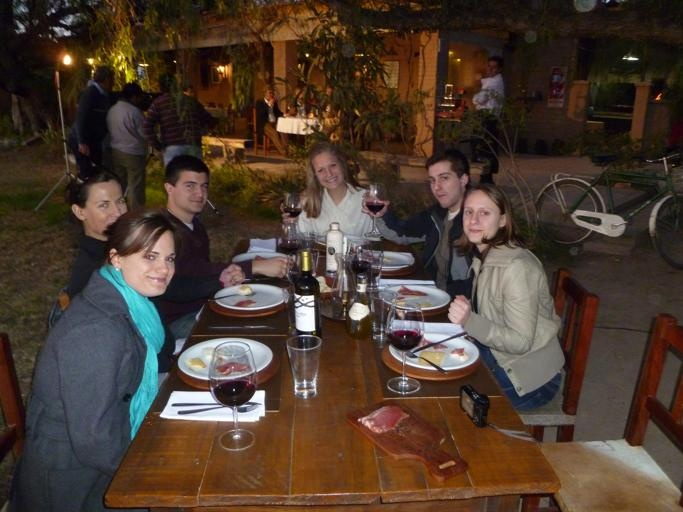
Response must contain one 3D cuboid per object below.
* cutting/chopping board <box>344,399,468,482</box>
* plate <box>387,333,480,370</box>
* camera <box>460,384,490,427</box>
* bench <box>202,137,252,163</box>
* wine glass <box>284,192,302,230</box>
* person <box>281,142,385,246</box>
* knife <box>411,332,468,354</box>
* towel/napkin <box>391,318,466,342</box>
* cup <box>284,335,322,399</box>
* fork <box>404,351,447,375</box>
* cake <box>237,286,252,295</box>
[{"bbox_3d":[0.245,0.631,1.811,0.176,0.036,0.321,-9,20,-28],"label":"cutting/chopping board"},{"bbox_3d":[0.422,0.441,2.407,0.429,0.046,0.434,-5,-7,-28],"label":"plate"},{"bbox_3d":[0.505,0.578,1.914,0.063,0.080,0.110,0,34,-13],"label":"camera"},{"bbox_3d":[-2.531,-2.225,10.704,1.028,0.300,1.112,-5,22,-30],"label":"bench"},{"bbox_3d":[-0.364,-0.331,3.732,0.143,0.242,0.141,-3,7,-38],"label":"wine glass"},{"bbox_3d":[-0.101,-0.412,4.310,0.698,0.981,0.607,-8,3,-5],"label":"person"},{"bbox_3d":[0.445,0.403,2.296,0.304,0.034,0.042,-13,30,-28],"label":"knife"},{"bbox_3d":[0.494,0.370,2.460,0.178,0.023,0.202,2,14,-4],"label":"towel/napkin"},{"bbox_3d":[-0.146,0.474,2.091,0.145,0.224,0.144,-5,2,0],"label":"cup"},{"bbox_3d":[0.364,0.472,2.188,0.032,0.027,0.231,-20,23,-19],"label":"fork"},{"bbox_3d":[-0.559,0.199,2.888,0.053,0.033,0.059,-1,21,-20],"label":"cake"}]
